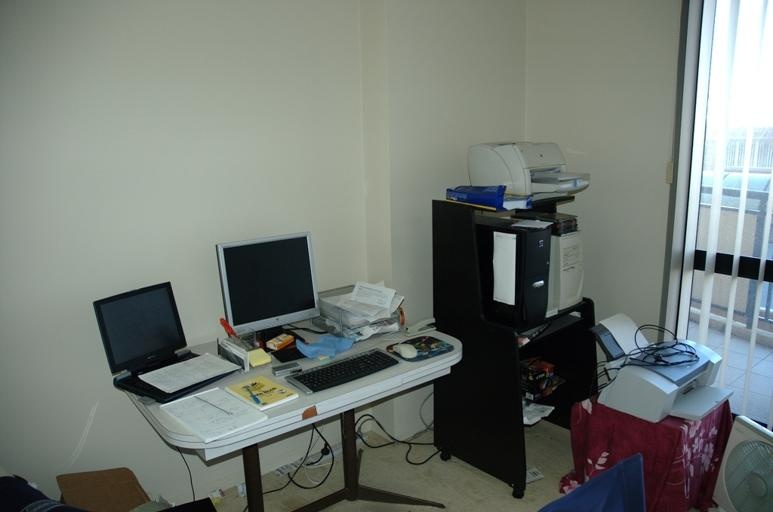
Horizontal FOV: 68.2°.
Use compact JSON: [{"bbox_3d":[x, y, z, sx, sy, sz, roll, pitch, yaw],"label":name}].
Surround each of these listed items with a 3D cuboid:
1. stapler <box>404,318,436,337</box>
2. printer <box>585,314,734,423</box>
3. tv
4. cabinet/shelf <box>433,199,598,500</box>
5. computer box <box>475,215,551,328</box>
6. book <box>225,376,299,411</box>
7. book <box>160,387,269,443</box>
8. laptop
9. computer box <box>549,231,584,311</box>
[{"bbox_3d":[0.223,0.440,3.611,0.169,0.057,0.096,-13,19,-35],"label":"stapler"},{"bbox_3d":[1.623,0.691,3.495,0.595,0.572,0.717,11,15,43],"label":"printer"},{"bbox_3d":[-0.716,0.219,3.397,0.636,0.620,0.207,-14,8,-32],"label":"tv"},{"bbox_3d":[0.792,0.494,4.019,1.049,2.096,0.930,-11,16,-35],"label":"cabinet/shelf"},{"bbox_3d":[0.572,0.092,3.574,0.690,0.734,0.432,7,14,38],"label":"computer box"},{"bbox_3d":[-0.659,0.718,3.044,0.348,0.035,0.259,11,16,42],"label":"book"},{"bbox_3d":[-0.873,0.787,2.885,0.329,0.034,0.249,17,22,41],"label":"book"},{"bbox_3d":[-1.190,0.449,3.109,0.600,0.413,0.505,10,15,26],"label":"laptop"},{"bbox_3d":[1.155,0.105,3.785,0.230,0.524,0.228,-2,14,-21],"label":"computer box"}]
